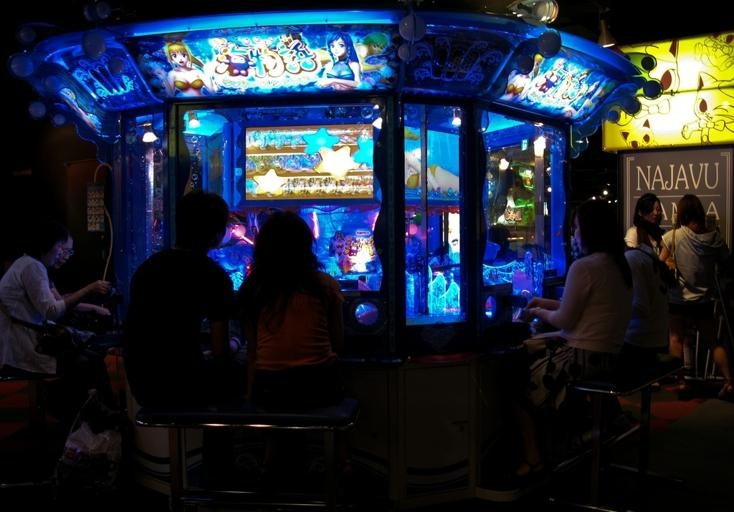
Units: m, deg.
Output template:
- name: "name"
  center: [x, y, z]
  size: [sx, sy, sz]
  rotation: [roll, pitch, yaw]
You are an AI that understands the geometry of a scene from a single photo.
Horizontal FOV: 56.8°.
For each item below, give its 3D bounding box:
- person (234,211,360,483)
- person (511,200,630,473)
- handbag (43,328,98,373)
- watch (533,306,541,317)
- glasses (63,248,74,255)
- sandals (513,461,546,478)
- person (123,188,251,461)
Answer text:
- name: "person"
  center: [-0.474, 0.319, 4.201]
  size: [0.643, 1.202, 0.265]
  rotation: [0, -1, -3]
- name: "person"
  center: [1.391, 0.575, 4.692]
  size: [0.816, 1.933, 0.399]
  rotation: [0, -1, 20]
- name: "handbag"
  center: [-2.184, 0.701, 5.061]
  size: [0.460, 0.194, 0.367]
  rotation: [-10, -21, 30]
- name: "watch"
  center: [1.206, 0.397, 4.832]
  size: [0.029, 0.058, 0.042]
  rotation: [1, -42, -18]
- name: "glasses"
  center: [-2.395, -0.019, 5.463]
  size: [0.055, 0.072, 0.028]
  rotation: [-12, 24, -40]
- name: "sandals"
  center: [1.127, 1.501, 4.752]
  size: [0.227, 0.088, 0.080]
  rotation: [-2, 1, 1]
- name: "person"
  center: [-1.134, 0.255, 4.099]
  size: [0.618, 1.322, 0.283]
  rotation: [1, -1, -20]
